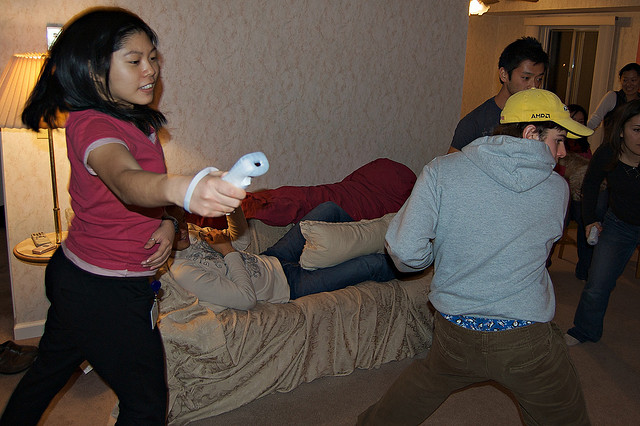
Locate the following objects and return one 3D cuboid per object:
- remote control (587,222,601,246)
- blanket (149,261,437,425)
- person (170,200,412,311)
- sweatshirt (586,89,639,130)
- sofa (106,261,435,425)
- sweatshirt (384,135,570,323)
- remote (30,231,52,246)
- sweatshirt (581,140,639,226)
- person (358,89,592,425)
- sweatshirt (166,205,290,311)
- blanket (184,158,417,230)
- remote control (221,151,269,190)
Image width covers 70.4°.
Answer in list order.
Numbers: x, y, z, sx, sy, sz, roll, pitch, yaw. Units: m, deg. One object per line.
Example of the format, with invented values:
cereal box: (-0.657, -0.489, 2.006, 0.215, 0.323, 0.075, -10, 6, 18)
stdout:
remote control: (1.998, 0.157, 3.332, 0.099, 0.080, 0.215, 3, 56, 31)
blanket: (-0.139, 0.742, 2.912, 1.512, 0.413, 0.990, -12, 33, -14)
person: (-0.228, 0.330, 3.198, 1.474, 0.759, 0.700, -9, 44, -12)
sweatshirt: (3.084, -1.120, 4.907, 0.299, 0.384, 0.793, 11, 21, 34)
sofa: (-0.089, 0.705, 2.981, 1.692, 0.458, 1.055, -12, 29, -13)
sweatshirt: (0.736, 0.084, 2.013, 0.982, 0.783, 0.449, -4, 16, -13)
remote: (-1.845, 0.160, 2.996, 0.090, 0.037, 0.112, -8, 34, -42)
sweatshirt: (2.097, -0.200, 3.258, 0.399, 0.637, 0.146, 15, 24, 41)
person: (0.707, 0.380, 1.991, 0.911, 1.393, 0.345, 1, 18, 7)
sweatshirt: (-0.584, 0.299, 2.789, 0.588, 0.335, 0.384, 13, 30, -42)
blanket: (-0.113, -0.153, 3.710, 1.889, 0.498, 0.653, -5, 22, -14)
remote control: (-0.229, -0.142, 1.393, 0.138, 0.089, 0.053, -40, 15, 30)
